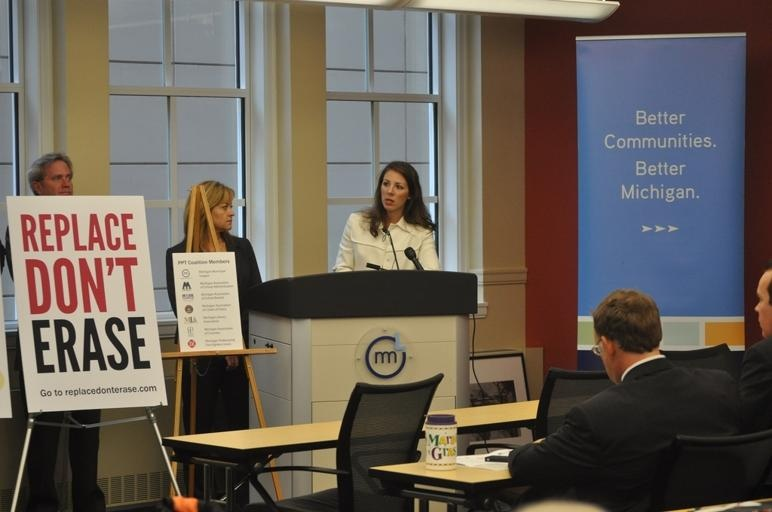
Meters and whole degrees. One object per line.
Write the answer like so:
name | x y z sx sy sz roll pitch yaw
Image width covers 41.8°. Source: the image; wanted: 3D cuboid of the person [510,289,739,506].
person | 1.324 0.746 5.415 0.949 1.445 0.772 -6 10 -20

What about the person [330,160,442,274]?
person | 0.014 -0.203 6.781 0.749 1.141 0.675 1 -2 -1

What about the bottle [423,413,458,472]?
bottle | 0.275 0.902 4.974 0.168 0.268 0.114 -3 2 -13

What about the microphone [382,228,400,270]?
microphone | 0.029 -0.058 6.548 0.105 0.266 0.221 -3 2 -1
